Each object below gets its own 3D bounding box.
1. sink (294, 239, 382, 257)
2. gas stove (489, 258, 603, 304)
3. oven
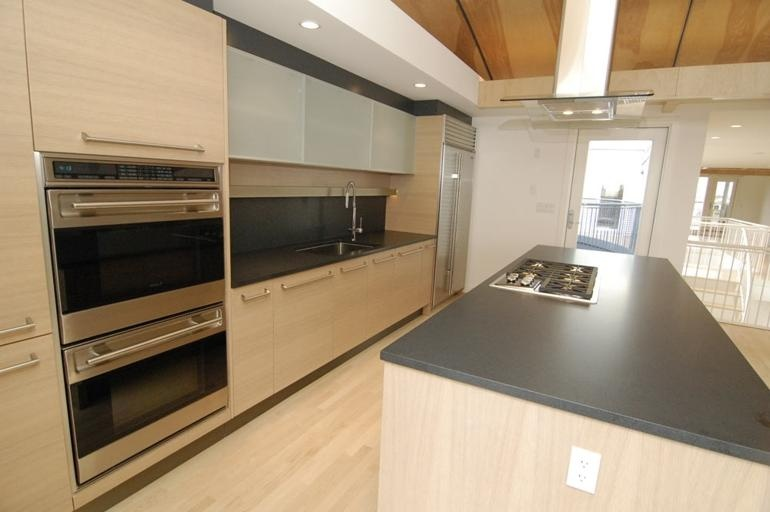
[{"bbox_3d":[-0.459,-0.074,4.575,0.315,0.076,0.309,-12,18,-39],"label":"sink"},{"bbox_3d":[1.147,0.154,3.427,0.654,0.113,0.889,4,9,23],"label":"gas stove"},{"bbox_3d":[-1.693,0.321,3.071,1.124,1.812,1.178,7,14,19],"label":"oven"}]
